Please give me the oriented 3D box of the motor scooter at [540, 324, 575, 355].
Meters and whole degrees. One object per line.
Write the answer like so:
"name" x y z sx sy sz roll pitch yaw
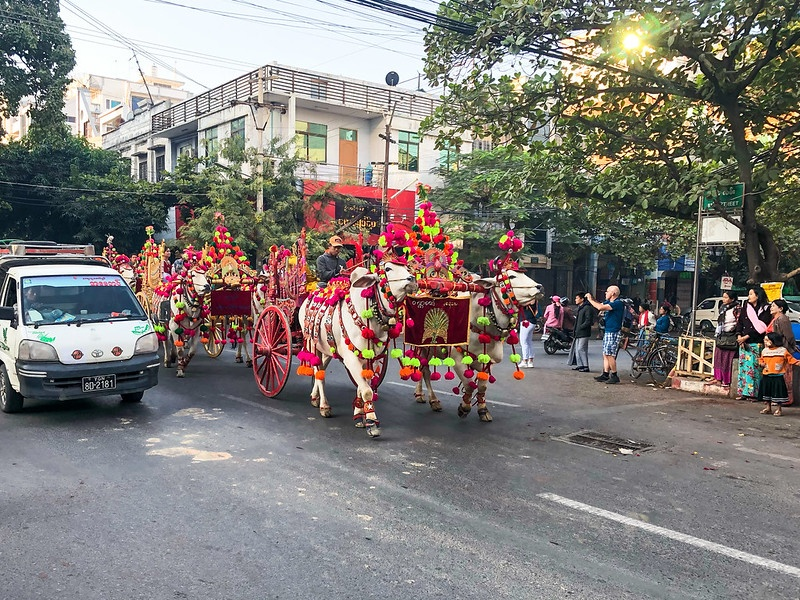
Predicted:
"motor scooter" 4.205 1.110 20.270 0.984 0.564 0.434 -6 11 -32

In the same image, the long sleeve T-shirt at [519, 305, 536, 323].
"long sleeve T-shirt" 2.541 0.278 14.862 0.278 0.492 0.403 3 -16 9

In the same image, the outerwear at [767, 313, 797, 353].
"outerwear" 6.612 0.613 12.943 0.464 0.684 0.455 8 14 25

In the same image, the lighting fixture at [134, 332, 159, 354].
"lighting fixture" -3.950 0.682 11.706 0.233 0.309 0.133 3 -12 -19

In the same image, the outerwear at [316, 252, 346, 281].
"outerwear" -1.159 -0.557 12.833 0.466 0.519 0.544 2 -1 28

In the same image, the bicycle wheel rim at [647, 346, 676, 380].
"bicycle wheel rim" 5.519 1.367 15.649 0.560 0.764 0.806 9 14 28

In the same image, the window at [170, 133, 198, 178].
"window" -9.881 -6.646 34.236 0.962 1.807 1.873 -1 4 -13

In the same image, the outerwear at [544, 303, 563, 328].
"outerwear" 4.082 0.432 19.710 0.635 0.769 0.459 2 -6 -5

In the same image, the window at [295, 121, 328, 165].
"window" -3.799 -6.626 31.570 2.174 1.540 0.094 18 23 41

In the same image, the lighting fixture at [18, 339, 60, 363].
"lighting fixture" -5.295 0.815 10.951 0.448 0.293 0.330 9 -14 -39

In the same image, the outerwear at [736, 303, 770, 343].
"outerwear" 6.349 0.402 13.394 0.544 0.676 0.289 2 3 4

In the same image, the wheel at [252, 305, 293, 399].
"wheel" -2.195 0.920 13.036 0.509 1.557 1.573 2 0 -30

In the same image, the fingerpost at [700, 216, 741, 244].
"fingerpost" 6.285 -1.368 14.571 0.079 0.412 0.564 1 2 -29

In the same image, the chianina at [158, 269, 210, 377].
"chianina" -4.245 0.393 14.759 0.830 2.296 1.446 -4 14 -24

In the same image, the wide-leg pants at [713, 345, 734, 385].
"wide-leg pants" 6.210 1.269 14.344 0.134 0.694 0.352 -20 22 -37

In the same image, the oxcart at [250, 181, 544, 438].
"oxcart" -0.098 0.241 12.789 3.231 3.349 4.574 3 -4 -36

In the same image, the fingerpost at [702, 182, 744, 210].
"fingerpost" 6.133 -1.945 14.310 0.791 0.585 0.583 13 17 41

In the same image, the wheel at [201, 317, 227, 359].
"wheel" -3.923 0.777 15.834 0.290 0.946 0.956 -6 4 -37

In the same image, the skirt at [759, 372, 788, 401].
"skirt" 6.466 1.510 12.870 0.443 0.530 0.274 8 14 26

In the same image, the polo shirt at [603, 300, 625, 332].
"polo shirt" 4.348 0.318 15.229 0.352 0.597 0.522 10 -13 9
